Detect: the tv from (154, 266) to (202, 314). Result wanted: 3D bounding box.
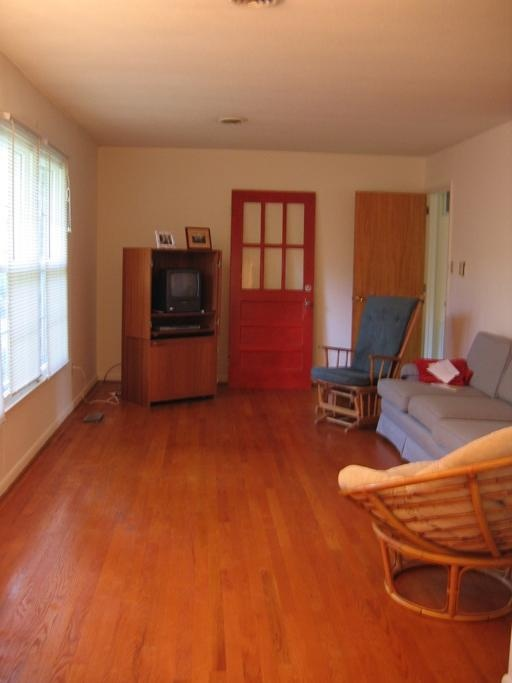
[{"bbox_3d":[-0.721,-0.489,5.111,0.455,0.595,0.384,-3,5,-37],"label":"tv"}]

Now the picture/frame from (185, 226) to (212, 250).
[{"bbox_3d":[-0.614,-1.101,5.400,0.346,0.343,0.034,-3,-3,-37],"label":"picture/frame"}]

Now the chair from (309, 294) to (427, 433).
[{"bbox_3d":[0.929,0.114,5.002,1.045,1.699,0.933,-1,3,-26],"label":"chair"}]

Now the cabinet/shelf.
[{"bbox_3d":[-0.846,-0.174,5.105,0.928,1.531,0.539,-1,4,-32],"label":"cabinet/shelf"}]
